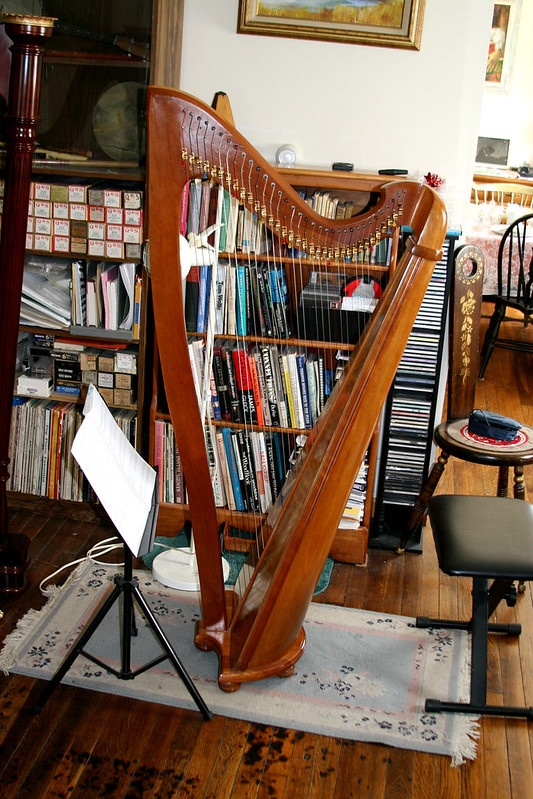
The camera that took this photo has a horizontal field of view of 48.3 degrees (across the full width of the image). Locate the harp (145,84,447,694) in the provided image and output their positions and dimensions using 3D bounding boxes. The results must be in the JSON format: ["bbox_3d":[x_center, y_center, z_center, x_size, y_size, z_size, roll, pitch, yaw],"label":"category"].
[{"bbox_3d":[0.052,0.045,1.686,0.742,1.372,1.182,0,13,-11],"label":"harp"}]

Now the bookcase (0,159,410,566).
[{"bbox_3d":[-0.175,-0.141,1.780,1.151,1.283,0.412,3,13,5],"label":"bookcase"}]
